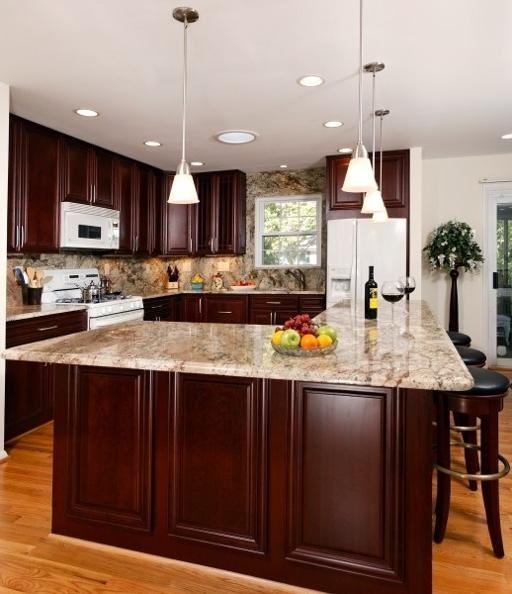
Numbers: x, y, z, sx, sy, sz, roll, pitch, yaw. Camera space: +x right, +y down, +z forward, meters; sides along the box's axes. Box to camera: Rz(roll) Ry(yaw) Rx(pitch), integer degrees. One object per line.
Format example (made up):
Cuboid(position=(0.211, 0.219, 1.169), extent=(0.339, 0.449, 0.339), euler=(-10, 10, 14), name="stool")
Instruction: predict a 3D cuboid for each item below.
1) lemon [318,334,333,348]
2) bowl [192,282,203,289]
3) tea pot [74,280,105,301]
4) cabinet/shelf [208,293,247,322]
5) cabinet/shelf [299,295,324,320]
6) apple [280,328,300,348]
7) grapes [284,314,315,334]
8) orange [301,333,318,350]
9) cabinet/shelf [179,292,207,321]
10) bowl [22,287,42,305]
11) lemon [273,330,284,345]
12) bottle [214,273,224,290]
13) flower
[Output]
Cuboid(position=(0.238, 0.158, 1.780), extent=(0.046, 0.044, 0.043), euler=(-15, 11, -35), name="lemon")
Cuboid(position=(-0.703, -0.133, 6.064), extent=(0.124, 0.082, 0.124), euler=(0, 4, 0), name="bowl")
Cuboid(position=(-1.444, -0.055, 4.464), extent=(0.215, 0.165, 0.211), euler=(0, 0, 0), name="tea pot")
Cuboid(position=(-0.309, 0.134, 5.588), extent=(0.491, 0.330, 0.278), euler=(0, -2, 22), name="cabinet/shelf")
Cuboid(position=(0.594, 0.096, 5.324), extent=(0.323, 0.293, 0.210), euler=(-1, -3, 15), name="cabinet/shelf")
Cuboid(position=(0.117, 0.147, 1.782), extent=(0.060, 0.059, 0.059), euler=(-4, -21, 0), name="apple")
Cuboid(position=(0.174, 0.096, 1.906), extent=(0.065, 0.057, 0.099), euler=(10, 7, 18), name="grapes")
Cuboid(position=(0.182, 0.156, 1.765), extent=(0.050, 0.051, 0.052), euler=(4, -3, -42), name="orange")
Cuboid(position=(-0.716, 0.114, 5.704), extent=(0.310, 0.417, 0.304), euler=(-1, -3, 13), name="cabinet/shelf")
Cuboid(position=(-1.718, -0.008, 3.934), extent=(0.144, 0.137, 0.135), euler=(1, 4, 0), name="bowl")
Cuboid(position=(0.083, 0.153, 1.849), extent=(0.043, 0.047, 0.043), euler=(-4, -2, 39), name="lemon")
Cuboid(position=(-0.456, -0.194, 6.064), extent=(0.126, 0.202, 0.241), euler=(0, 4, -3), name="bottle")
Cuboid(position=(2.000, -0.472, 5.125), extent=(0.606, 0.533, 0.542), euler=(0, -3, 27), name="flower")
